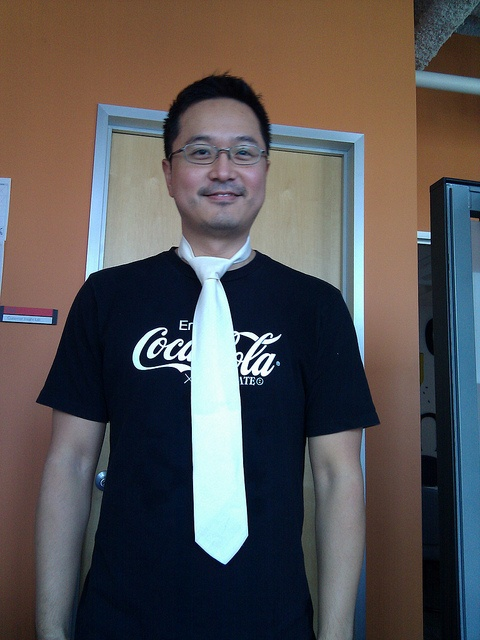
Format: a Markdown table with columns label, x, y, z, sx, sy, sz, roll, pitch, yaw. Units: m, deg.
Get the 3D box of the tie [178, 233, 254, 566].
| label | x | y | z | sx | sy | sz | roll | pitch | yaw |
| --- | --- | --- | --- | --- | --- | --- | --- | --- | --- |
| tie | -0.047 | 0.117 | 1.042 | 0.126 | 0.549 | 0.222 | 1 | 1 | -3 |
